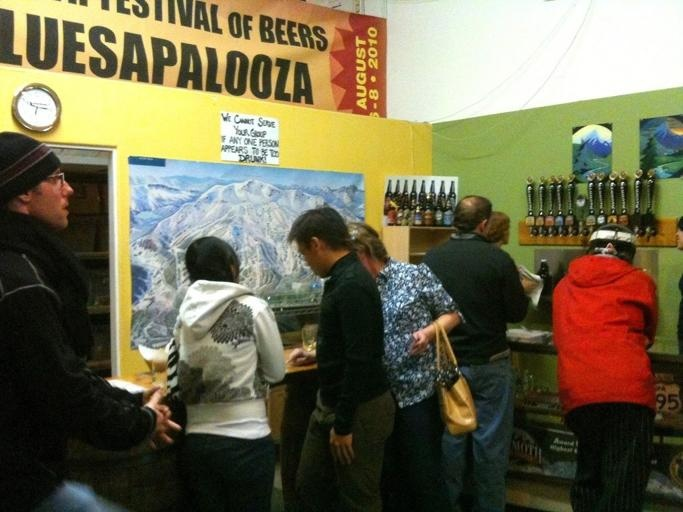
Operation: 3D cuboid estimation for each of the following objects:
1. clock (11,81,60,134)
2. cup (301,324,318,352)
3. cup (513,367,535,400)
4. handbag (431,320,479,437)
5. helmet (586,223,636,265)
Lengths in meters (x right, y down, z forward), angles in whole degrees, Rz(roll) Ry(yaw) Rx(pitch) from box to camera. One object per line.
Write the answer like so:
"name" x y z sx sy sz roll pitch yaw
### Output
"clock" -1.920 -0.936 3.702 0.263 0.278 0.062 12 -9 -11
"cup" -0.217 0.550 4.020 0.171 0.198 0.178 0 2 0
"cup" 1.394 0.966 4.402 0.147 0.223 0.129 -15 11 -31
"handbag" 0.658 0.698 3.391 0.233 0.634 0.123 0 6 2
"helmet" 1.574 -0.085 3.464 0.237 0.234 0.212 19 -3 10
